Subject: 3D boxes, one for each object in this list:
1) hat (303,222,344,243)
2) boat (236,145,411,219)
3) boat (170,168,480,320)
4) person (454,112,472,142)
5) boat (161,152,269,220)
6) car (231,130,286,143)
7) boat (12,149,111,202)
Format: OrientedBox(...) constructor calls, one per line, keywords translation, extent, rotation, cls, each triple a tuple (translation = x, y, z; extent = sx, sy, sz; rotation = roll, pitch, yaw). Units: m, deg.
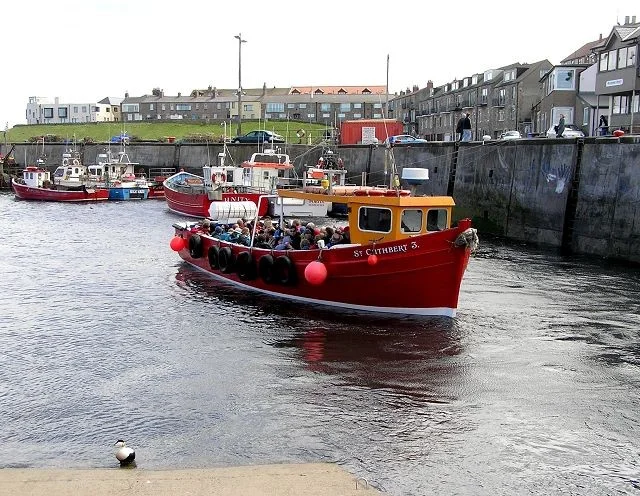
OrientedBox(translation=(0.112, -0.397, 17.740), extent=(0.651, 0.349, 1.110), rotation=(-1, 1, -28), cls="hat")
OrientedBox(translation=(-1.368, -3.902, 38.094), extent=(5.117, 3.008, 8.272), rotation=(-3, 6, -26), cls="boat")
OrientedBox(translation=(-0.032, -0.032, 18.238), extent=(3.998, 2.337, 8.809), rotation=(-4, 7, -41), cls="boat")
OrientedBox(translation=(7.244, -6.047, 33.441), extent=(0.620, 1.407, 2.021), rotation=(2, 13, 10), cls="person")
OrientedBox(translation=(-6.438, -3.821, 40.397), extent=(4.415, 3.559, 9.937), rotation=(-3, 7, -30), cls="boat")
OrientedBox(translation=(-5.338, -9.726, 58.158), extent=(3.835, 1.101, 3.470), rotation=(6, 13, 30), cls="car")
OrientedBox(translation=(-19.788, -5.006, 50.122), extent=(5.519, 2.509, 8.158), rotation=(-8, 14, -32), cls="boat")
